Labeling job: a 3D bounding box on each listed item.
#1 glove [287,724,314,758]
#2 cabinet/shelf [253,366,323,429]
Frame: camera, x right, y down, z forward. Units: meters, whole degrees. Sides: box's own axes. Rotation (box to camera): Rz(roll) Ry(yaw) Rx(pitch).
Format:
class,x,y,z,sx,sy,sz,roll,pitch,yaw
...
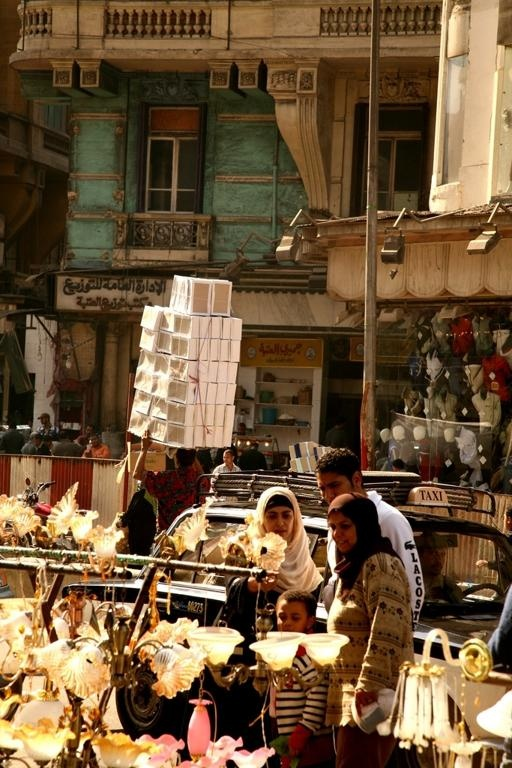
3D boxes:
class,x,y,z,sx,sy,sz,roll,pitch,yaw
glove,0.148,1.247,3.739,0.058,0.041,0.098,1,21,10
cabinet/shelf,0.586,0.265,18.262,1.015,0.956,0.308,-1,-7,17
